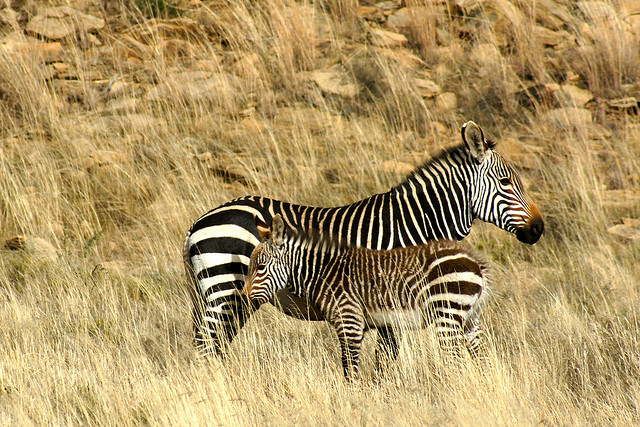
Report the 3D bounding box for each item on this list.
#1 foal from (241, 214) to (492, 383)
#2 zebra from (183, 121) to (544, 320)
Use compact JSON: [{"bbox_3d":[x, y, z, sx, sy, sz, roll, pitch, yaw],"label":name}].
[{"bbox_3d":[0.580,1.043,13.046,2.926,2.610,1.091,-1,36,3],"label":"foal"},{"bbox_3d":[0.497,0.772,13.086,4.510,1.323,3.795,-3,78,9],"label":"zebra"}]
